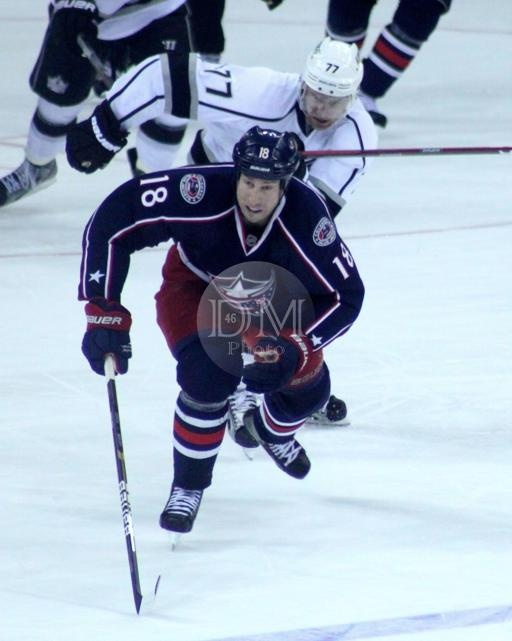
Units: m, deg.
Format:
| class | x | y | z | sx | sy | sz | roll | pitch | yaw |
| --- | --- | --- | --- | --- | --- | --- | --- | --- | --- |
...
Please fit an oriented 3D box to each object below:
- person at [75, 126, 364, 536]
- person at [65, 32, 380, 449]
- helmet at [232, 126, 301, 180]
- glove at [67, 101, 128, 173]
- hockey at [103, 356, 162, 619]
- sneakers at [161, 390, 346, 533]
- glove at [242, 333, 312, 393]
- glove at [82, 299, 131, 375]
| class | x | y | z | sx | sy | sz | roll | pitch | yaw |
| --- | --- | --- | --- | --- | --- | --- | --- | --- | --- |
| person | -0.090 | 0.002 | 2.720 | 0.942 | 1.092 | 0.710 | 10 | 22 | -1 |
| person | -0.010 | -0.427 | 3.321 | 1.028 | 1.226 | 0.940 | 30 | 30 | 22 |
| helmet | 0.013 | -0.456 | 2.531 | 0.219 | 0.133 | 0.233 | 11 | 17 | -8 |
| glove | -0.517 | -0.632 | 3.245 | 0.270 | 0.186 | 0.116 | -32 | -26 | 29 |
| hockey | -0.369 | 0.423 | 2.495 | 0.135 | 0.777 | 0.039 | 6 | -28 | -38 |
| sneakers | -0.009 | 0.451 | 2.785 | 0.097 | 0.454 | 0.192 | 46 | -25 | -6 |
| glove | 0.038 | 0.131 | 2.610 | 0.200 | 0.160 | 0.071 | 5 | -8 | -17 |
| glove | -0.422 | 0.045 | 2.569 | 0.161 | 0.203 | 0.069 | 0 | 9 | -12 |
